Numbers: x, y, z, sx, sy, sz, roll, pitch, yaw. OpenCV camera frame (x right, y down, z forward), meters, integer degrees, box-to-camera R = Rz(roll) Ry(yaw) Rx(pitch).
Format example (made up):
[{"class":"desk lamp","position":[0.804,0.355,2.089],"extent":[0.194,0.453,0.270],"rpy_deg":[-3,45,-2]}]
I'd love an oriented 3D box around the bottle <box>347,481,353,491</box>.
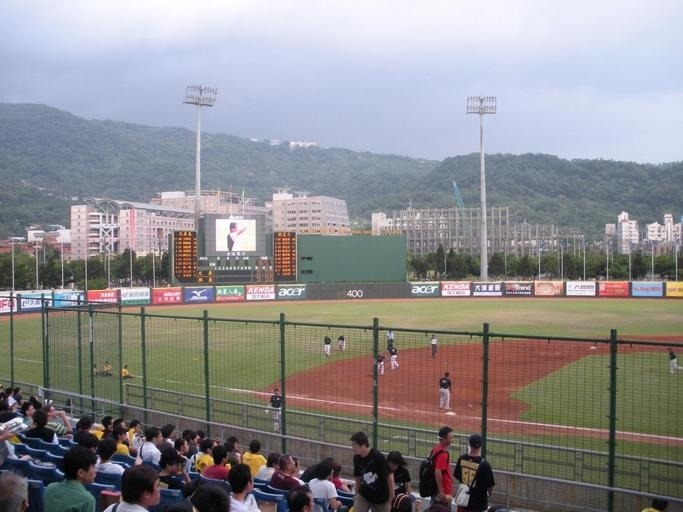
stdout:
[{"class":"bottle","position":[0.327,9.013,42.286],"extent":[0.240,0.327,0.340],"rpy_deg":[-2,-3,36]}]

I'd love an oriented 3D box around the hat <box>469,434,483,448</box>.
[{"class":"hat","position":[5.026,6.962,40.564],"extent":[0.526,0.466,0.789],"rpy_deg":[7,-38,9]}]
